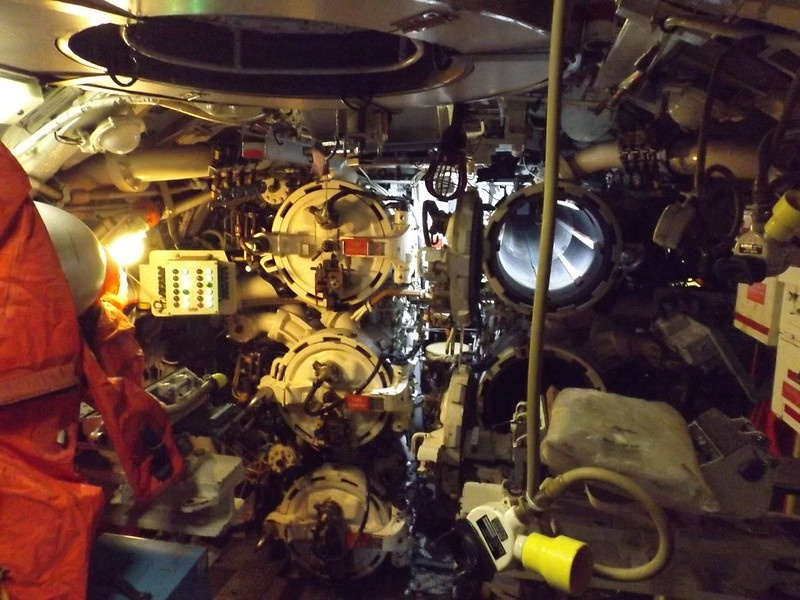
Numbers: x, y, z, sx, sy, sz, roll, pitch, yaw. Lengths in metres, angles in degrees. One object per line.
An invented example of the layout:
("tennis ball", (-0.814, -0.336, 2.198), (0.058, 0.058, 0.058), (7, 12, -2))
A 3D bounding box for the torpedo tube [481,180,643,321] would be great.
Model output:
("torpedo tube", (1.437, -0.424, 6.027), (1.154, 1.282, 2.159), (1, -2, 11))

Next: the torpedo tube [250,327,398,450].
("torpedo tube", (-0.680, 0.748, 6.489), (1.279, 1.022, 0.472), (6, 2, 13))

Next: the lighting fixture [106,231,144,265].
("lighting fixture", (-2.439, -0.474, 5.811), (0.272, 0.153, 0.279), (-37, 13, 31))

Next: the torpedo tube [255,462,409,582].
("torpedo tube", (-0.582, 2.151, 6.419), (1.263, 1.006, 0.718), (-2, 2, 11))

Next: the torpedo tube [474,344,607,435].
("torpedo tube", (1.116, 0.758, 5.987), (0.888, 0.967, 0.323), (-8, 7, 35))
